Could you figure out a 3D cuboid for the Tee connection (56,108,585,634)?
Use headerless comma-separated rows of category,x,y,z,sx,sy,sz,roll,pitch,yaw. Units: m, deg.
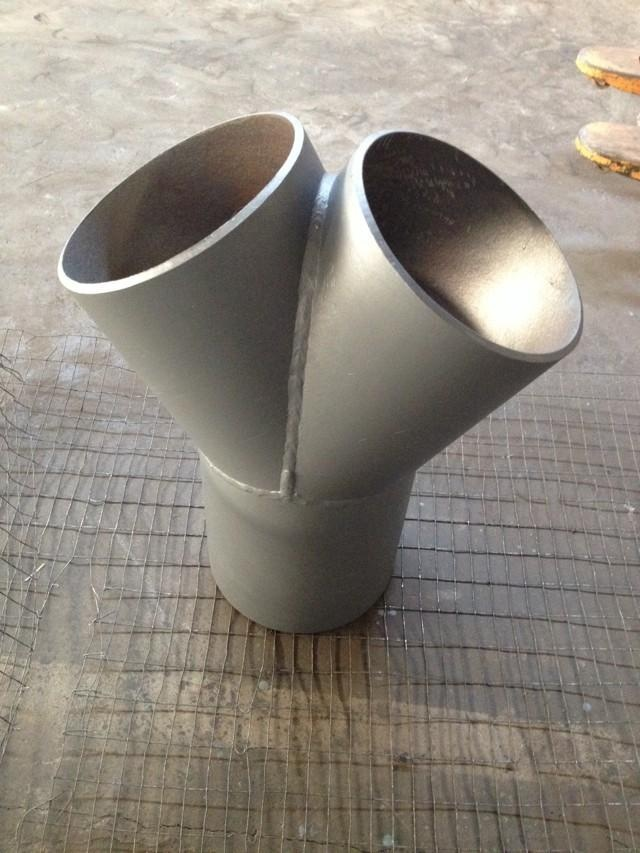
Tee connection,-0.007,-0.104,2.406,1.226,1.341,0.675,7,49,3
